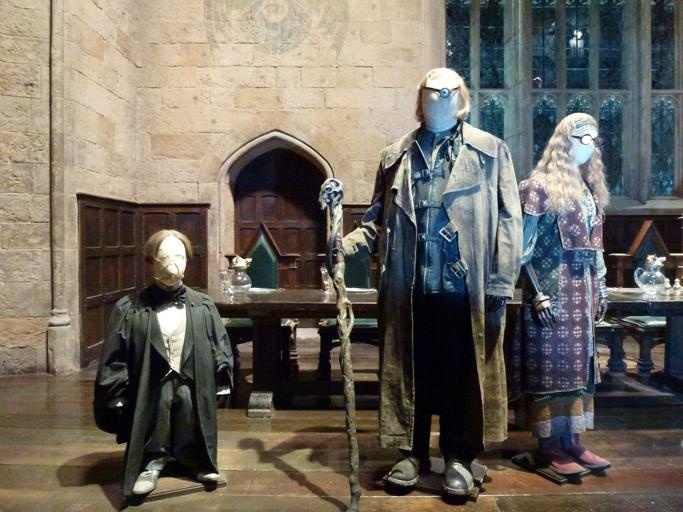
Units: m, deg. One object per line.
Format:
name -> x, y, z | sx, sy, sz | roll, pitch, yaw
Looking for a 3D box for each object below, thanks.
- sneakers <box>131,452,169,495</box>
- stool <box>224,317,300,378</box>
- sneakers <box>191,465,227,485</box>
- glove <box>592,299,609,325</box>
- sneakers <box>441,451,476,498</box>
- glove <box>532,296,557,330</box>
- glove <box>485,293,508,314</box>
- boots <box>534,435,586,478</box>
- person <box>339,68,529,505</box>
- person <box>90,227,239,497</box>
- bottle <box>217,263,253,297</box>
sneakers -> -1.346, 1.524, 5.796 | 0.104, 0.116, 0.312 | 24, 3, -1
stool -> -0.738, 0.759, 7.526 | 0.510, 0.356, 0.723 | -1, -2, 7
sneakers -> -0.926, 1.549, 5.930 | 0.186, 0.071, 0.110 | -3, -8, 28
glove -> 1.887, 0.399, 6.205 | 0.149, 0.211, 0.067 | 2, 1, -29
sneakers -> 0.818, 1.529, 5.786 | 0.225, 0.277, 0.150 | -3, -3, 4
glove -> 1.439, 0.388, 5.894 | 0.128, 0.120, 0.230 | -12, 39, 15
glove -> 1.049, 0.318, 5.705 | 0.117, 0.116, 0.044 | 3, 15, 4
boots -> 1.550, 1.450, 6.093 | 0.153, 0.203, 0.431 | -7, -1, -26
person -> 0.700, 0.193, 5.828 | 1.095, 2.946, 0.337 | -3, -3, 19
person -> -1.256, 0.746, 5.916 | 0.953, 1.837, 0.284 | -1, -3, -19
bottle -> -0.914, 0.214, 7.240 | 0.235, 0.237, 0.241 | 0, -6, -4
